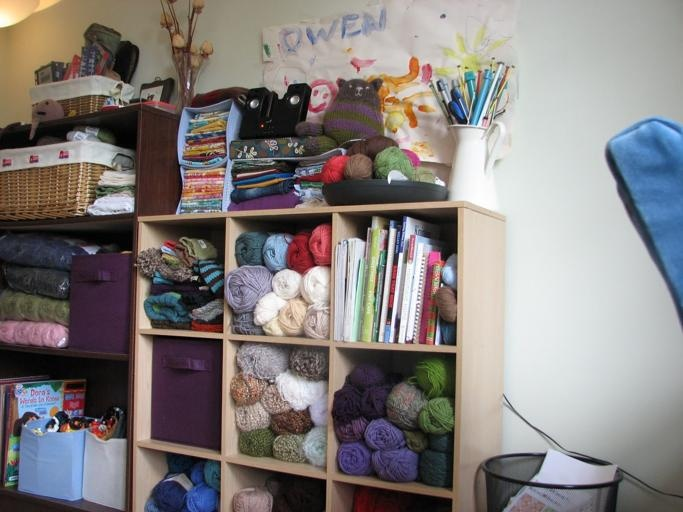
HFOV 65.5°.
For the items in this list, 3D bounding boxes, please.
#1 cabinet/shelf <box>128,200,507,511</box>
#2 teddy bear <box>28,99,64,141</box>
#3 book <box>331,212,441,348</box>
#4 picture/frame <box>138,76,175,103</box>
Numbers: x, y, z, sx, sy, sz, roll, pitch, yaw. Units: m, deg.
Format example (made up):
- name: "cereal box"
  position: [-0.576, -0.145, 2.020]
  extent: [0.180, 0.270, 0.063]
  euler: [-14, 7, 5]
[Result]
- name: "cabinet/shelf"
  position: [-0.100, 0.398, 1.933]
  extent: [1.318, 1.116, 0.415]
  euler: [-2, -4, 23]
- name: "teddy bear"
  position: [-1.310, -0.609, 2.374]
  extent: [0.140, 0.181, 0.124]
  euler: [9, 2, 42]
- name: "book"
  position: [0.144, 0.094, 1.799]
  extent: [0.384, 0.481, 0.360]
  euler: [4, -9, 28]
- name: "picture/frame"
  position: [-0.858, -0.774, 2.486]
  extent: [0.197, 0.166, 0.030]
  euler: [12, -19, 26]
